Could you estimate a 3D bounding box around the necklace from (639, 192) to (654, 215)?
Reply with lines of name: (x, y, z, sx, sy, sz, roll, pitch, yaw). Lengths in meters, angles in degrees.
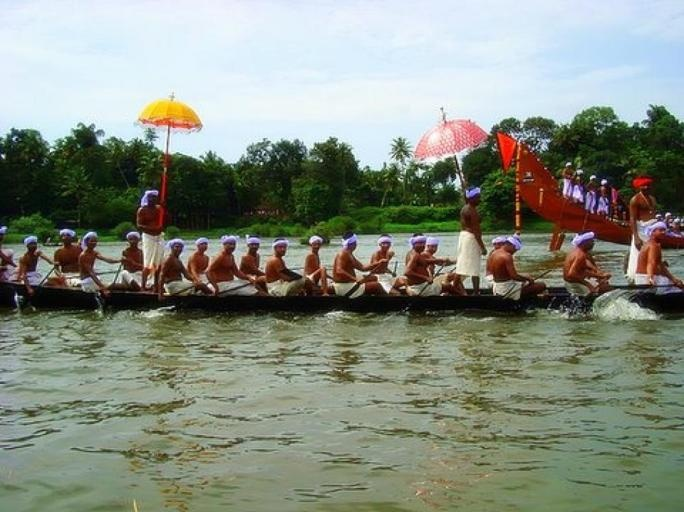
necklace: (5.821, -0.937, 14.967, 0.484, 0.403, 0.246, -4, 5, -34)

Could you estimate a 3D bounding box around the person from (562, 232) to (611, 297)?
person: (4.319, 0.138, 13.844, 0.763, 1.041, 1.214, 1, 1, 16)

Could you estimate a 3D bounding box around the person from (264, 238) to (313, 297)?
person: (-1.341, 0.245, 14.878, 1.017, 1.204, 1.286, 0, 2, -18)

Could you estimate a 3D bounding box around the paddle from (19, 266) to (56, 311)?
paddle: (-6.368, 0.468, 16.037, 0.484, 0.323, 1.788, 5, 18, -7)

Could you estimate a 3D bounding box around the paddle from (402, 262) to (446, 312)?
paddle: (1.370, 0.462, 14.221, 0.878, 1.007, 0.774, -2, 3, -8)

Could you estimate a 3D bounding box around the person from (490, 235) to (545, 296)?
person: (2.916, 0.201, 13.932, 0.771, 1.074, 1.020, -1, 2, -33)
